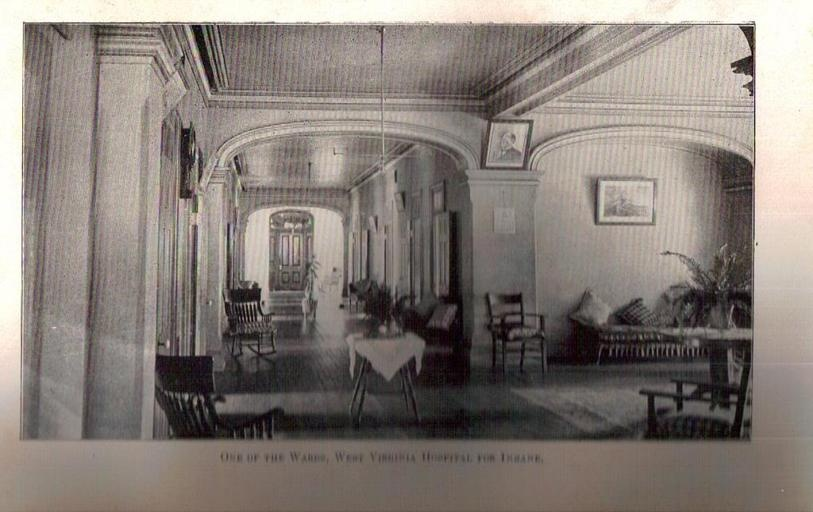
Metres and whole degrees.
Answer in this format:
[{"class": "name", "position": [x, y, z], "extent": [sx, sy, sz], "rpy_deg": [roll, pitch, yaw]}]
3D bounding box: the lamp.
[{"class": "lamp", "position": [-0.232, -1.205, 6.704], "extent": [0.084, 1.882, 0.136], "rpy_deg": [1, -2, 16]}]

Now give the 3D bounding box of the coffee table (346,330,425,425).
[{"class": "coffee table", "position": [-0.206, 1.173, 7.049], "extent": [0.764, 0.911, 0.729], "rpy_deg": [1, -1, -13]}]

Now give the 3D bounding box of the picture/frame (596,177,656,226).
[{"class": "picture/frame", "position": [2.046, -0.526, 6.774], "extent": [0.440, 0.394, 0.037], "rpy_deg": [1, -3, -5]}]

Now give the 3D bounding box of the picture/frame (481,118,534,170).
[{"class": "picture/frame", "position": [0.916, -1.063, 6.715], "extent": [0.430, 0.510, 0.037], "rpy_deg": [3, 5, -4]}]

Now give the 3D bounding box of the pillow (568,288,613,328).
[{"class": "pillow", "position": [1.720, 0.481, 6.847], "extent": [0.303, 0.339, 0.332], "rpy_deg": [22, 7, -1]}]

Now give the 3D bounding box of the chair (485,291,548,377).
[{"class": "chair", "position": [1.047, 0.720, 6.786], "extent": [0.508, 0.737, 0.554], "rpy_deg": [-1, -1, -3]}]

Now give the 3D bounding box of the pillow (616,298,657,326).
[{"class": "pillow", "position": [2.166, 0.530, 6.777], "extent": [0.230, 0.131, 0.307], "rpy_deg": [9, -5, 6]}]

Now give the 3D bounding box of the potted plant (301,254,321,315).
[{"class": "potted plant", "position": [-0.903, 0.274, 6.722], "extent": [0.159, 0.567, 0.057], "rpy_deg": [2, -2, -9]}]

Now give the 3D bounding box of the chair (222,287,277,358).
[{"class": "chair", "position": [-1.521, 0.635, 6.830], "extent": [0.432, 0.628, 0.429], "rpy_deg": [-2, -12, -14]}]

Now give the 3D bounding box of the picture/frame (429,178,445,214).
[{"class": "picture/frame", "position": [0.292, -0.560, 6.715], "extent": [0.141, 0.314, 0.031], "rpy_deg": [2, -2, -12]}]
